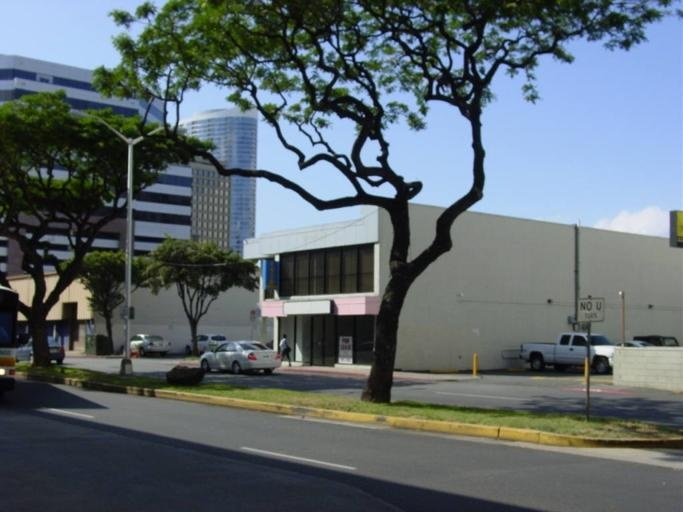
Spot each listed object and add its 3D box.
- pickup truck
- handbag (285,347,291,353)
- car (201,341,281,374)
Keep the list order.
[{"bbox_3d":[11.787,5.034,40.579,1.268,2.067,5.749,5,-7,-29],"label":"pickup truck"},{"bbox_3d":[-3.214,5.471,45.076,0.279,0.332,0.561,-8,-12,4],"label":"handbag"},{"bbox_3d":[-4.824,4.868,37.009,3.547,1.455,1.214,-2,-7,32],"label":"car"}]
